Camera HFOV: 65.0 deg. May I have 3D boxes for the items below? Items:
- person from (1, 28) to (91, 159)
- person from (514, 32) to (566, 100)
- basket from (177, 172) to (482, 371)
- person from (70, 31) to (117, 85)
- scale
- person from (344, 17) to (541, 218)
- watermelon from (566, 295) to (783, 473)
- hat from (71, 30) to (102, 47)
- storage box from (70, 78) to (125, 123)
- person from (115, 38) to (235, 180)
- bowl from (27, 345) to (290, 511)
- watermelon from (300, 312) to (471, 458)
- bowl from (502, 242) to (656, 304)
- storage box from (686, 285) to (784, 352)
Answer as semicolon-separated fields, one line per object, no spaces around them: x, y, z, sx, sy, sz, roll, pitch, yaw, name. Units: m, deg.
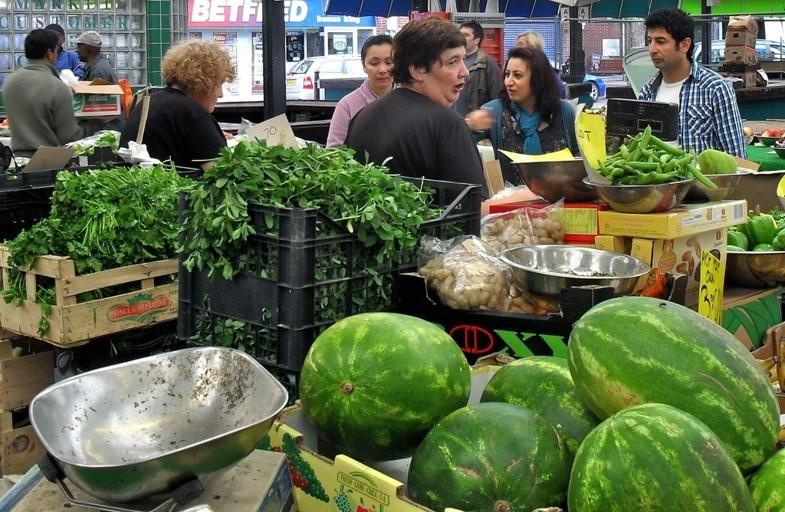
-3.942;-1.807;6.907;0.750;1.357;0.895;1;13;-2;person
2.269;-2.830;9.562;0.585;1.404;0.685;-37;41;-28;person
-0.443;0.073;2.702;0.829;0.507;0.830;4;6;42;basket
-5.090;-3.335;10.587;0.709;0.884;1.058;-4;19;-25;person
-0.747;0.498;1.940;0.602;0.191;0.461;-18;35;-29;scale
0.173;-0.863;4.027;0.856;1.158;1.318;-17;23;-38;person
0.840;0.370;1.925;0.602;0.391;0.352;34;-30;-13;watermelon
-5.194;-3.707;10.558;0.547;0.285;0.385;15;28;25;hat
-4.104;-2.144;8.621;0.593;0.388;0.636;-7;14;-36;storage box
-1.751;-1.185;5.195;0.896;1.187;0.742;20;12;39;person
-0.752;0.488;1.955;0.557;0.165;0.472;-15;31;-30;bowl
-0.005;0.432;2.172;0.658;0.507;0.497;-13;-23;18;watermelon
0.733;0.078;2.570;0.489;0.148;0.509;1;14;0;bowl
1.855;0.276;3.329;0.572;0.404;0.327;-4;5;-44;storage box
